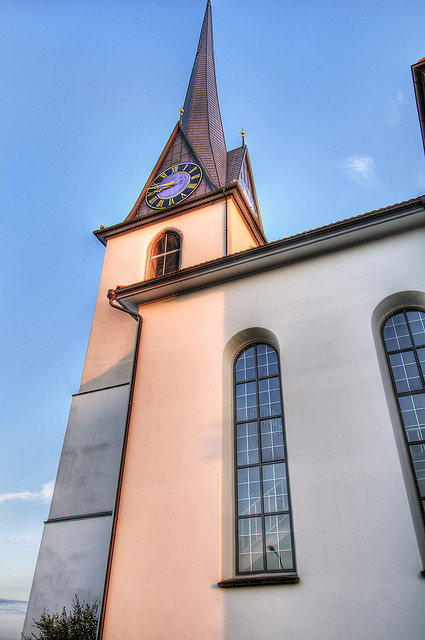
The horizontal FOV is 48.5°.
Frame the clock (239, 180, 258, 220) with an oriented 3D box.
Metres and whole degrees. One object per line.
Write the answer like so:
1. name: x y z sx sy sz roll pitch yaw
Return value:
1. clock: 1.300 -4.330 16.708 0.196 1.513 1.560 -11 -37 16
